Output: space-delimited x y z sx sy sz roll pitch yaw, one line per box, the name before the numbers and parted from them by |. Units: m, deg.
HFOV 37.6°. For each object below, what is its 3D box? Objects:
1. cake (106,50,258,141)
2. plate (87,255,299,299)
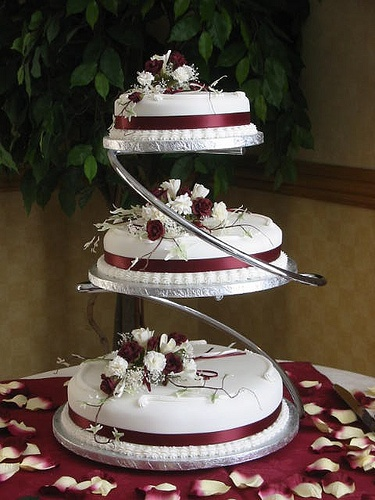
cake | -0.015 -0.399 1.552 0.378 0.218 0.360 2 4 24
plate | -0.062 0.082 1.479 0.588 0.073 0.234 2 5 24
